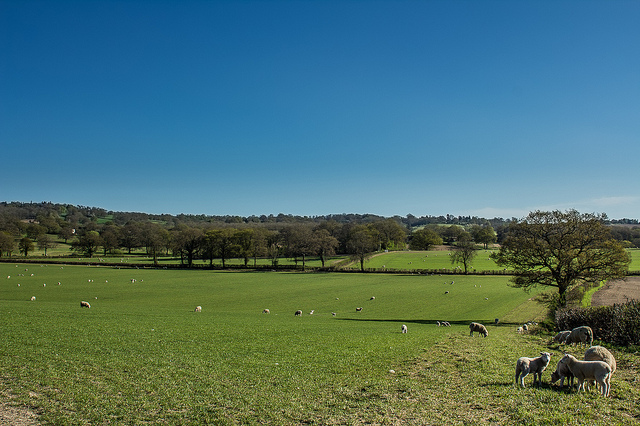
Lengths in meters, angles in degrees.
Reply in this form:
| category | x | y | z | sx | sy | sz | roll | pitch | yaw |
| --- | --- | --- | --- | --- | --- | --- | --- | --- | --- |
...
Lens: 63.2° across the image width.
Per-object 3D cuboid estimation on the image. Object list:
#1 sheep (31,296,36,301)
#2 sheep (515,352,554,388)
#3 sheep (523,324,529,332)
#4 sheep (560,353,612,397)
| category | x | y | z | sx | sy | sz | roll | pitch | yaw |
| --- | --- | --- | --- | --- | --- | --- | --- | --- | --- |
| sheep | -42.651 | 12.777 | 77.805 | 0.807 | 0.727 | 0.591 | -10 | -5 | 24 |
| sheep | 17.706 | 12.943 | 43.188 | 3.637 | 2.535 | 1.308 | 6 | -10 | -22 |
| sheep | 24.812 | 13.928 | 62.962 | 0.321 | 0.651 | 0.504 | 10 | -4 | -41 |
| sheep | 21.102 | 13.192 | 41.151 | 5.893 | 3.384 | 2.560 | -2 | -2 | 11 |
